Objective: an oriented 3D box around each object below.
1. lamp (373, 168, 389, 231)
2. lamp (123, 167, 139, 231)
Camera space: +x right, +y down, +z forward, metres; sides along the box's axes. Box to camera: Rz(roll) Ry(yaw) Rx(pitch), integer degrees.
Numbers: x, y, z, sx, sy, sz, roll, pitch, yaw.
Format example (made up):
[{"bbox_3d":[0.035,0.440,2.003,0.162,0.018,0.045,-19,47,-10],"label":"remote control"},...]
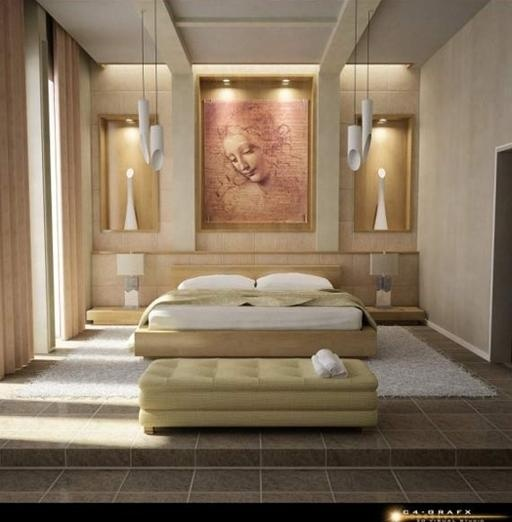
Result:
[{"bbox_3d":[1.670,-0.840,6.586,0.168,0.850,0.168,-2,6,3],"label":"lamp"},{"bbox_3d":[-1.684,-0.838,6.563,0.171,0.848,0.160,-3,6,-13],"label":"lamp"}]
